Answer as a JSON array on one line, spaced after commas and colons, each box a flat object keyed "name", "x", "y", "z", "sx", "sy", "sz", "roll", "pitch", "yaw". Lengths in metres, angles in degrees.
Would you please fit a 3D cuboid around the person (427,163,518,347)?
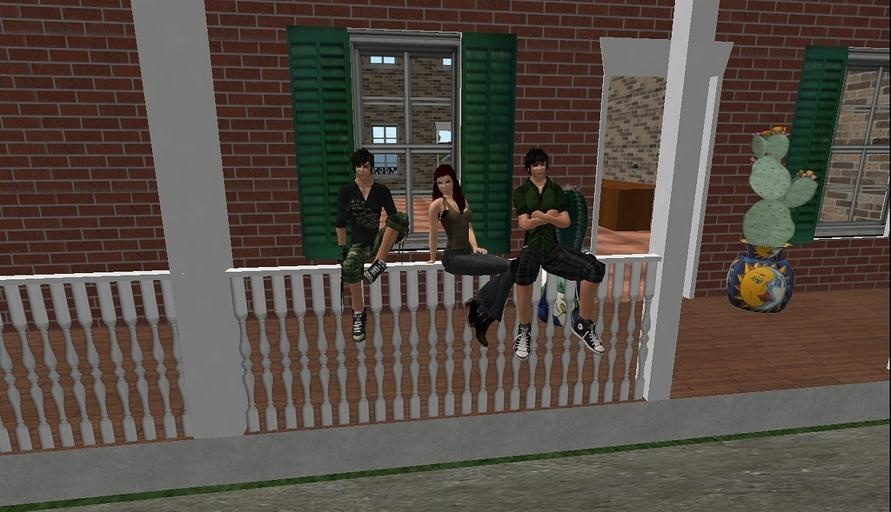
[{"name": "person", "x": 0.245, "y": -0.017, "z": 8.673, "sx": 0.984, "sy": 1.990, "sz": 0.568, "roll": 6, "pitch": 16, "yaw": 34}]
